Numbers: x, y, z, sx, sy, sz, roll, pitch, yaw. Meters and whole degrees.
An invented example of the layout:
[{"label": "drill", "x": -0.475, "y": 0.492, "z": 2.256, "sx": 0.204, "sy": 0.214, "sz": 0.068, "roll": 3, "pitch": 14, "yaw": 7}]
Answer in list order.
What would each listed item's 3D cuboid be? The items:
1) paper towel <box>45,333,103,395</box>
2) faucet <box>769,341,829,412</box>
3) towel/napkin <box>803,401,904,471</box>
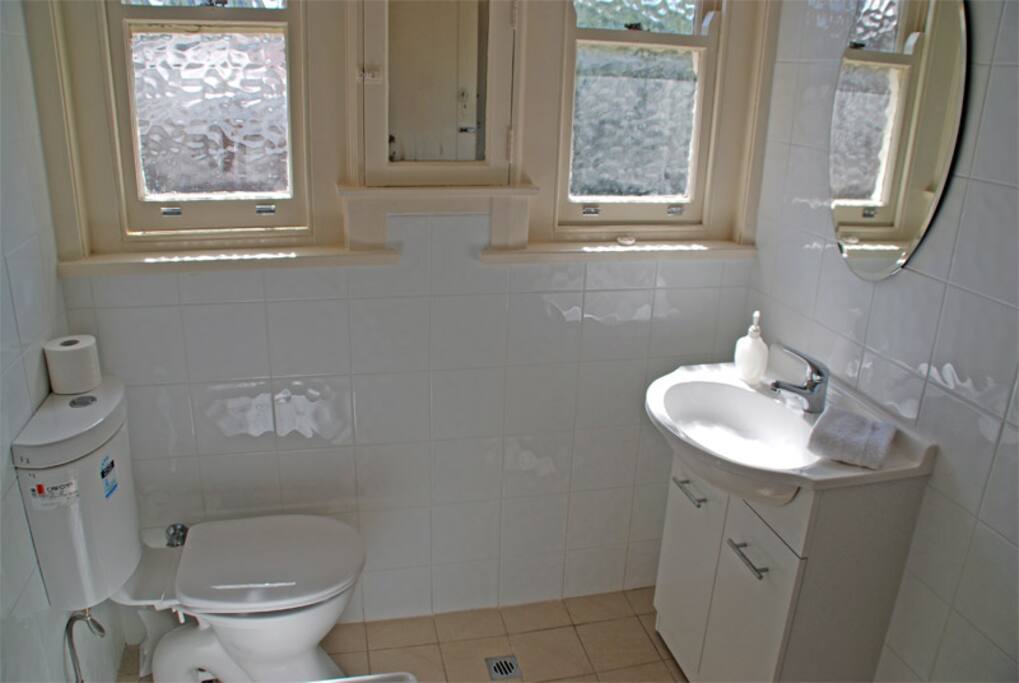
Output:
[{"label": "paper towel", "x": -1.440, "y": 0.076, "z": 2.309, "sx": 0.146, "sy": 0.155, "sz": 0.139, "roll": 4, "pitch": 21, "yaw": -3}, {"label": "faucet", "x": 0.974, "y": 0.134, "z": 2.342, "sx": 0.168, "sy": 0.213, "sz": 0.116, "roll": 8, "pitch": 24, "yaw": 24}, {"label": "towel/napkin", "x": 1.053, "y": 0.299, "z": 2.166, "sx": 0.204, "sy": 0.114, "sz": 0.185, "roll": 15, "pitch": 27, "yaw": 36}]
